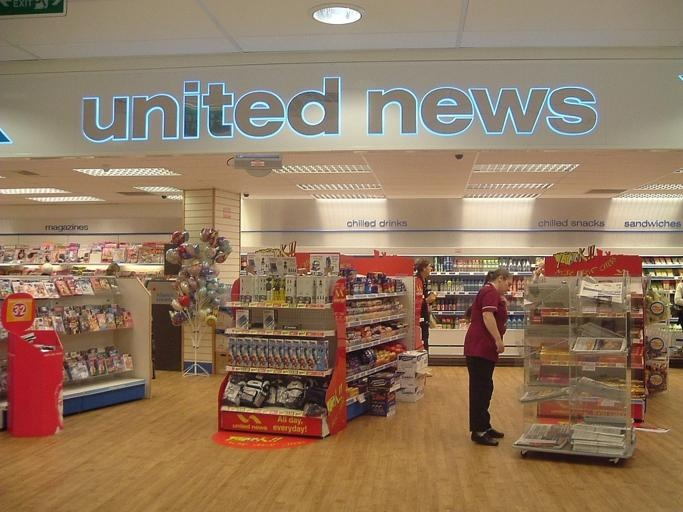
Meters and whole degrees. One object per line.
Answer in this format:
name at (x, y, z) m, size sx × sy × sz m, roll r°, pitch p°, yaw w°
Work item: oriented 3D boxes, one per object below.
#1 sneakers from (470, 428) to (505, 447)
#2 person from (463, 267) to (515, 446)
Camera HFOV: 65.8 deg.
sneakers at (1.847, 2.206, 6.450) m, size 0.477 × 0.195 × 0.153 m, roll -6°, pitch 7°, yaw 25°
person at (1.772, 1.226, 6.450) m, size 0.510 × 2.112 × 0.507 m, roll 0°, pitch -1°, yaw 16°
